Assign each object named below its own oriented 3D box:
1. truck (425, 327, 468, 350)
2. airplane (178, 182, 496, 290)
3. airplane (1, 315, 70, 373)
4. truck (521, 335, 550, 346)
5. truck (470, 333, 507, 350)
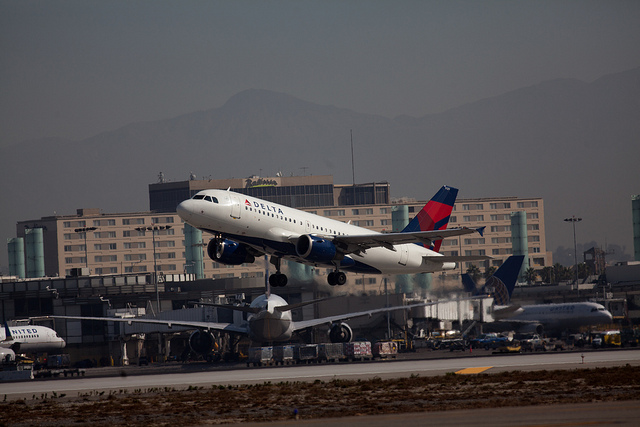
[{"bbox_3d":[18.048,17.754,233.172,5.117,2.307,2.958,1,-5,2],"label":"truck"},{"bbox_3d":[0.132,3.006,198.602,22.397,7.956,20.506,17,-11,-27],"label":"airplane"},{"bbox_3d":[-42.479,17.736,222.064,7.876,3.298,7.880,3,4,39],"label":"airplane"},{"bbox_3d":[30.028,17.223,221.743,4.045,1.453,1.804,7,-8,-31],"label":"truck"},{"bbox_3d":[24.002,18.099,227.940,3.976,1.510,2.095,2,-2,2],"label":"truck"}]
